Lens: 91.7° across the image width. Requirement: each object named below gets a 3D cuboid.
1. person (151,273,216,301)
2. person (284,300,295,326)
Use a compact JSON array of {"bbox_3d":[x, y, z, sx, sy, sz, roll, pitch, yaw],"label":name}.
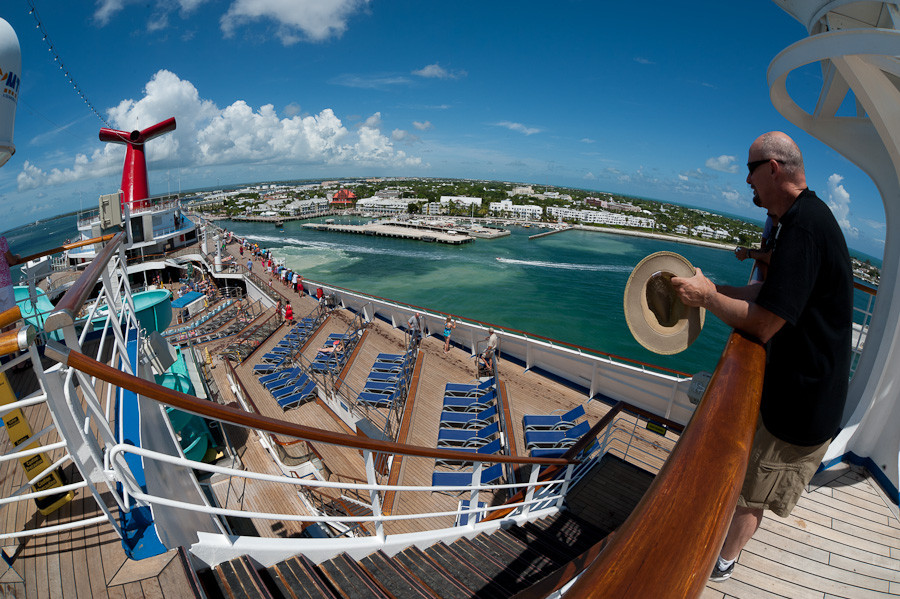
[{"bbox_3d":[-12.183,-0.598,19.786,1.108,0.462,1.117,24,40,-4],"label":"person"},{"bbox_3d":[-5.709,0.512,15.313,0.364,0.854,0.335,-24,52,-25],"label":"person"}]
